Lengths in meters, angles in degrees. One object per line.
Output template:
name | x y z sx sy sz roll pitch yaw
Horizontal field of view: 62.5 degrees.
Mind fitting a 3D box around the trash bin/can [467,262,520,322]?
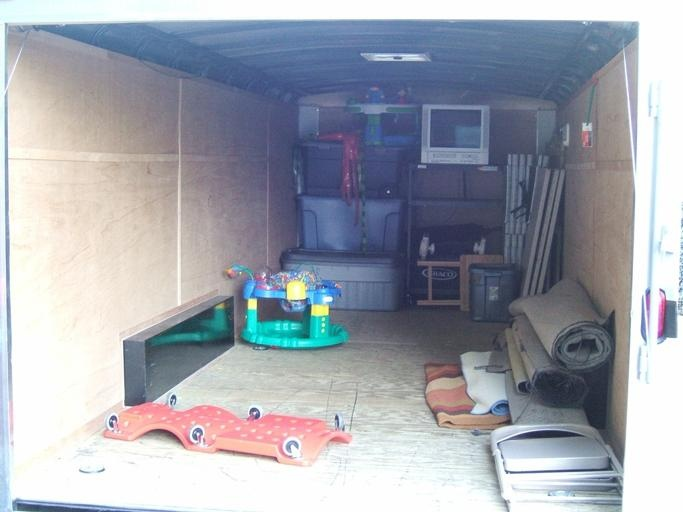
trash bin/can | 1.817 0.434 7.058 0.834 0.777 0.588 1 0 5

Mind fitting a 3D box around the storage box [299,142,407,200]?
storage box | 0.141 -1.213 8.147 0.953 0.599 1.383 8 7 37

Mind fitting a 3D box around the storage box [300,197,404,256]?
storage box | 0.166 -0.395 7.789 1.117 0.512 0.805 1 0 3

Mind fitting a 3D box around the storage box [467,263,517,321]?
storage box | 1.850 0.468 6.793 0.593 0.627 0.273 2 9 11

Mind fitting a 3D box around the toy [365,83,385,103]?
toy | 0.434 -2.072 7.231 0.260 0.245 0.192 0 1 2

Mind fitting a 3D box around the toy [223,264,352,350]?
toy | -0.579 0.542 5.954 0.988 0.674 0.977 7 9 35

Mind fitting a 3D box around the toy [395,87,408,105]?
toy | 0.790 -2.052 7.229 0.129 0.195 0.087 1 9 2
